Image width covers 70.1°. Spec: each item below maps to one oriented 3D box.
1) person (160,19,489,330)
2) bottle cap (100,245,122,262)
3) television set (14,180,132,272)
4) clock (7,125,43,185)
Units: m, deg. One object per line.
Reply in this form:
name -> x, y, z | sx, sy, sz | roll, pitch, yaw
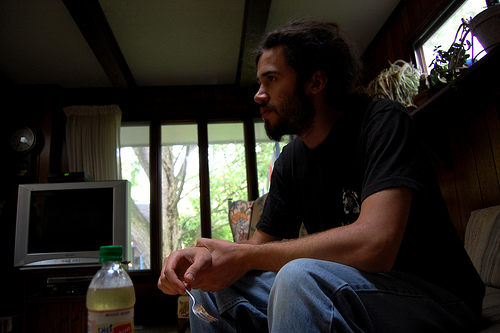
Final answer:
person -> 0.337, -0.065, 1.538 | 1.041, 1.427, 0.822 | -5, -6, 34
bottle cap -> -0.497, 0.314, 1.277 | 0.061, 0.043, 0.061 | 11, -20, -35
television set -> -1.743, 0.646, 3.768 | 1.100, 0.922, 0.608 | -3, -10, -4
clock -> -2.559, -0.124, 4.051 | 0.334, 0.643, 0.139 | -2, -5, 6
